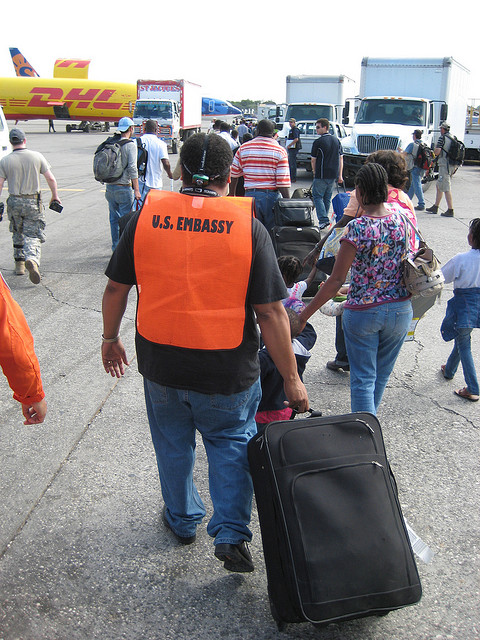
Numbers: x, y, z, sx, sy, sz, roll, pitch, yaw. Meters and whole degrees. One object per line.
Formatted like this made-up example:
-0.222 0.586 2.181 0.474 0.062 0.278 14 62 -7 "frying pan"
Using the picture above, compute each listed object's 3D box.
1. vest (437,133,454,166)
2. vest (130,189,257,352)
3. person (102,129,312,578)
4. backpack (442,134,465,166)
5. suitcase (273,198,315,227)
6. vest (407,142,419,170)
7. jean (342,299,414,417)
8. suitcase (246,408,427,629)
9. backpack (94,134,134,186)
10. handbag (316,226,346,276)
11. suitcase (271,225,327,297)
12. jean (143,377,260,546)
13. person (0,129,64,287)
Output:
4.564 -3.787 11.708 0.279 0.666 0.525 8 22 18 "vest"
-0.159 -0.179 1.898 0.474 0.605 0.319 8 21 4 "vest"
-0.142 0.219 2.153 0.477 1.832 0.794 -19 29 -41 "person"
4.819 -3.715 11.667 0.661 0.665 0.425 5 9 28 "backpack"
0.660 -1.250 6.511 0.503 0.345 0.352 0 2 -6 "suitcase"
3.875 -3.694 11.875 0.222 0.592 0.320 -1 21 -4 "vest"
0.718 0.198 2.964 0.326 0.661 0.406 14 25 32 "jean"
0.309 0.713 1.883 0.478 0.639 0.575 -4 21 -11 "suitcase"
-1.859 -2.291 7.726 0.440 0.687 0.700 8 7 43 "backpack"
0.617 -0.498 3.632 0.168 0.368 0.625 4 21 9 "handbag"
0.726 -0.724 6.303 0.614 0.720 0.867 -1 21 -4 "suitcase"
-0.170 0.575 2.089 0.475 0.640 0.403 2 21 2 "jean"
-2.694 -1.465 6.823 0.663 1.877 1.010 -7 22 -19 "person"
